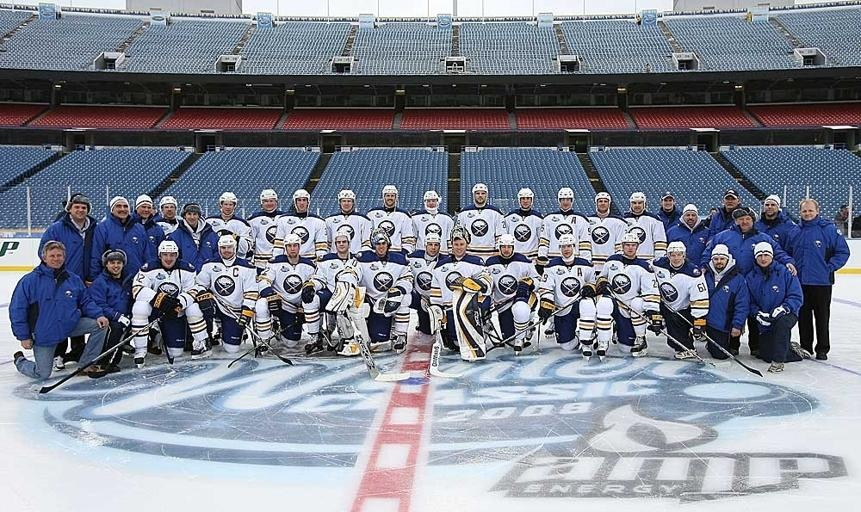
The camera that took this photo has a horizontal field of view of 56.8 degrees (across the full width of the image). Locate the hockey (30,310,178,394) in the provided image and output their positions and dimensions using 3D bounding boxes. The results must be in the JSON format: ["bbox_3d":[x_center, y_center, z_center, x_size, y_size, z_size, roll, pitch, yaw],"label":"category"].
[{"bbox_3d":[-6.536,1.908,15.769,2.909,0.105,0.414,-28,-19,-24],"label":"hockey"}]
